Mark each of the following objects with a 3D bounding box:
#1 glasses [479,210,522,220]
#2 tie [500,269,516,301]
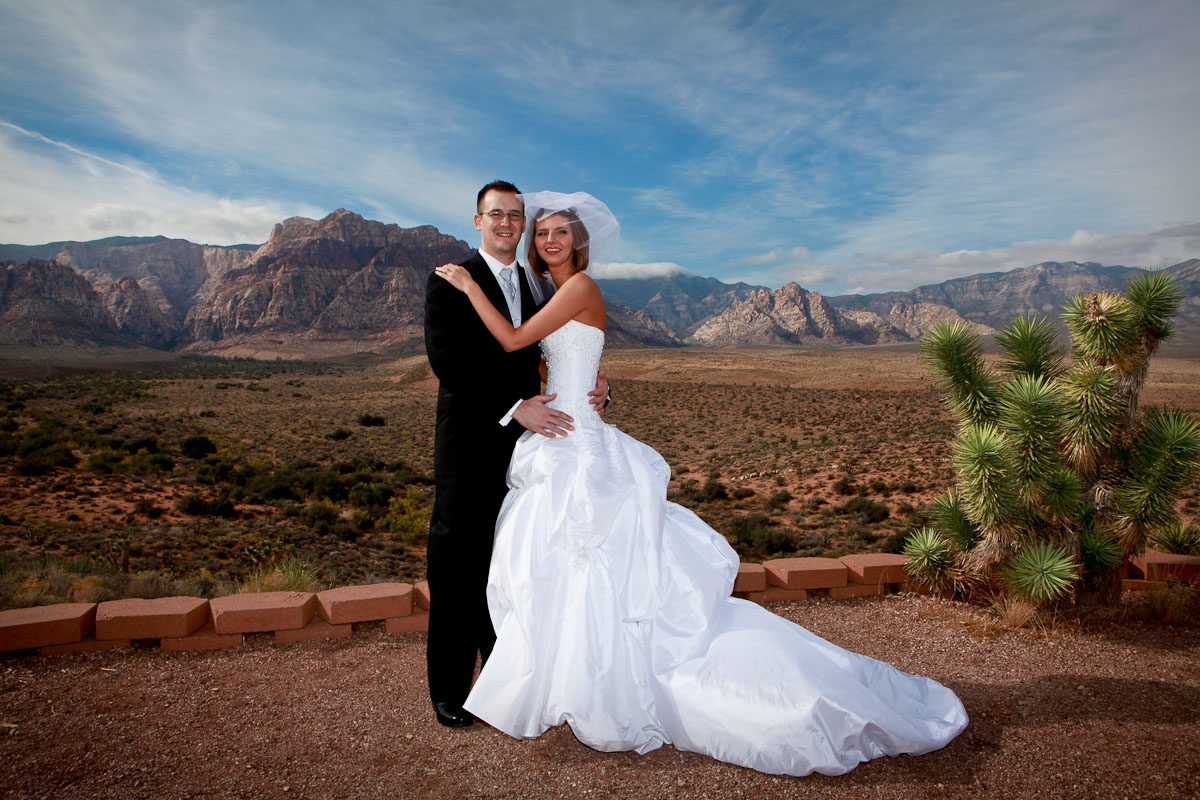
[{"bbox_3d":[-0.741,-1.429,5.333,0.310,0.068,0.108,-2,9,-14],"label":"glasses"},{"bbox_3d":[-0.709,-0.919,5.513,0.143,0.234,0.056,-8,10,-38],"label":"tie"}]
